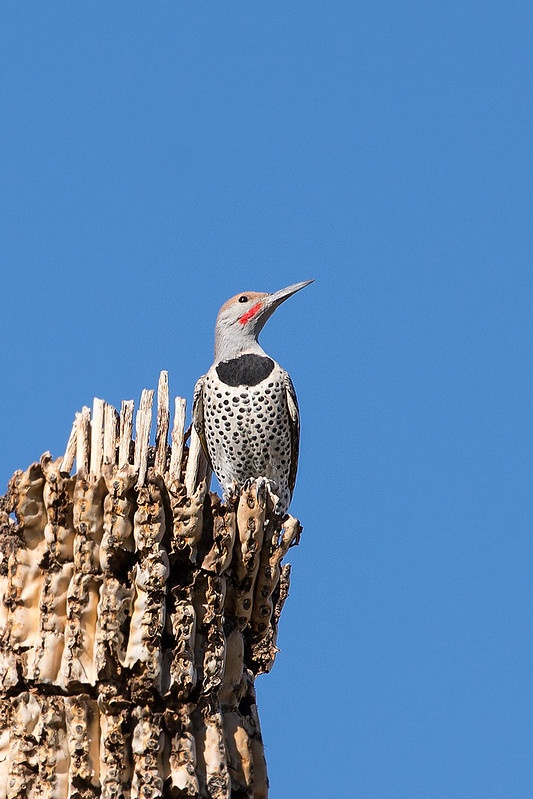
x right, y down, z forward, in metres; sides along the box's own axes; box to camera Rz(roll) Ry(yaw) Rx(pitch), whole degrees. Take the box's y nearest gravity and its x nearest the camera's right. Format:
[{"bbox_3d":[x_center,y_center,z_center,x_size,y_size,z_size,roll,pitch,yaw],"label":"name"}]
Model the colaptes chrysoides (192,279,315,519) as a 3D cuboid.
[{"bbox_3d":[-0.096,0.089,8.800,0.338,1.159,0.783,2,-40,-8],"label":"colaptes chrysoides"}]
